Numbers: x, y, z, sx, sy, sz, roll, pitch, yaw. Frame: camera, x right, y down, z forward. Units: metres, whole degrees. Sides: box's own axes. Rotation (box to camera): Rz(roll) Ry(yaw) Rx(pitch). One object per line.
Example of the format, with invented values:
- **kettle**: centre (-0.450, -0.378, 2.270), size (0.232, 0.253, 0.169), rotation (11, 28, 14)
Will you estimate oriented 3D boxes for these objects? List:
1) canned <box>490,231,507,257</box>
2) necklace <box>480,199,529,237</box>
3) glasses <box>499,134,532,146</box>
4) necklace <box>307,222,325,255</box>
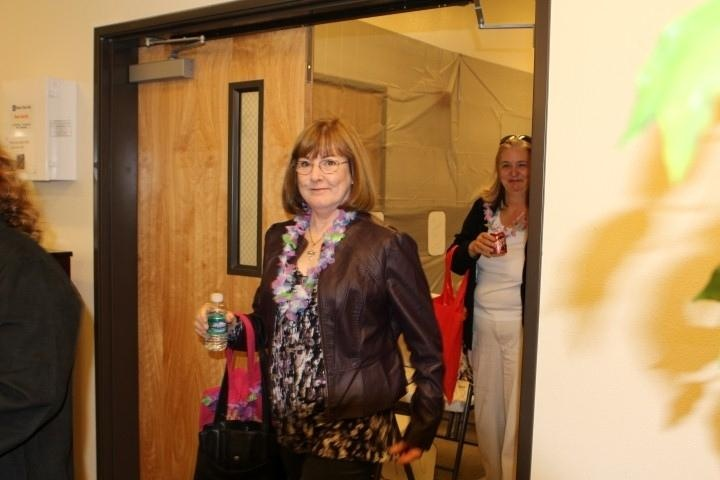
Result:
- **canned**: centre (0.681, 0.013, 2.692), size (0.065, 0.106, 0.155), rotation (4, 4, 32)
- **necklace**: centre (0.761, -0.111, 2.897), size (0.158, 0.199, 0.078), rotation (-1, -5, 11)
- **glasses**: centre (0.814, -0.527, 2.928), size (0.154, 0.056, 0.075), rotation (3, 3, 22)
- **necklace**: centre (-0.170, -0.003, 2.175), size (0.122, 0.148, 0.010), rotation (3, 0, 35)
